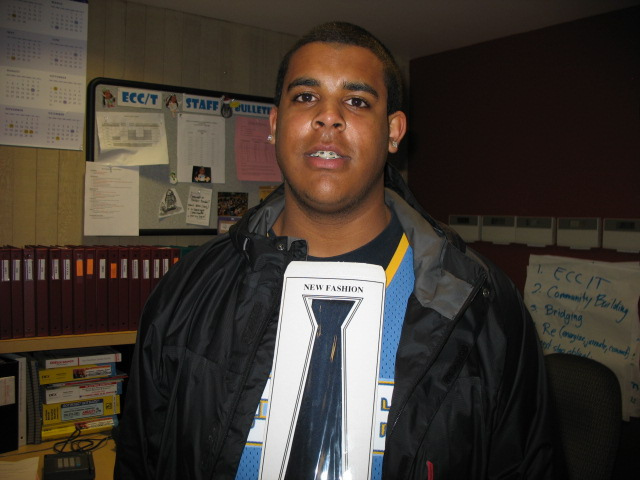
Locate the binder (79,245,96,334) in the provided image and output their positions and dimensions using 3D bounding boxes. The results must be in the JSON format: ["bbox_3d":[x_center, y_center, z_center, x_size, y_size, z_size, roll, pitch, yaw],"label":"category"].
[{"bbox_3d":[-1.003,0.215,2.309,0.041,0.328,0.306,0,4,-21],"label":"binder"}]

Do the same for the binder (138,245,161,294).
[{"bbox_3d":[-0.750,0.128,2.355,0.122,0.194,0.177,1,0,-20],"label":"binder"}]

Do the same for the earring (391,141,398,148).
[{"bbox_3d":[0.214,-0.277,1.551,0.015,0.018,0.005,0,4,-27],"label":"earring"}]

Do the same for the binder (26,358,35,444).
[{"bbox_3d":[-1.218,0.689,2.258,0.029,0.312,0.094,-1,5,-29],"label":"binder"}]

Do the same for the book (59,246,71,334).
[{"bbox_3d":[-1.079,0.220,2.274,0.044,0.354,0.033,-1,5,-28],"label":"book"}]

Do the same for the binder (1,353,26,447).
[{"bbox_3d":[-1.236,0.669,2.223,0.042,0.282,0.142,0,11,-22],"label":"binder"}]

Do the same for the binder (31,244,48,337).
[{"bbox_3d":[-1.160,0.220,2.237,0.028,0.292,0.111,0,13,-33],"label":"binder"}]

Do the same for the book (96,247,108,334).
[{"bbox_3d":[-0.947,0.225,2.337,0.042,0.357,0.026,-1,5,-31],"label":"book"}]

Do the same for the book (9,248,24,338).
[{"bbox_3d":[-1.245,0.221,2.205,0.050,0.359,0.038,-1,5,-30],"label":"book"}]

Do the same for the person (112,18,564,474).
[{"bbox_3d":[0.041,0.031,1.434,1.168,1.248,0.386,1,4,-10],"label":"person"}]

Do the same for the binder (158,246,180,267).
[{"bbox_3d":[-0.689,0.053,2.450,0.074,0.123,0.107,-1,4,-21],"label":"binder"}]

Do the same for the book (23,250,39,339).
[{"bbox_3d":[-1.195,0.224,2.221,0.057,0.360,0.035,-1,5,-30],"label":"book"}]

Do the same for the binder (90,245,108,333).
[{"bbox_3d":[-0.950,0.216,2.337,0.081,0.318,0.037,17,11,35],"label":"binder"}]

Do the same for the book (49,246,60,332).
[{"bbox_3d":[-1.117,0.216,2.259,0.040,0.342,0.030,-1,5,-29],"label":"book"}]

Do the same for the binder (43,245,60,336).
[{"bbox_3d":[-1.214,0.227,2.399,0.047,0.380,0.361,1,-5,-34],"label":"binder"}]

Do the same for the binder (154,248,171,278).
[{"bbox_3d":[-0.711,0.091,2.472,0.091,0.149,0.135,1,4,-15],"label":"binder"}]
